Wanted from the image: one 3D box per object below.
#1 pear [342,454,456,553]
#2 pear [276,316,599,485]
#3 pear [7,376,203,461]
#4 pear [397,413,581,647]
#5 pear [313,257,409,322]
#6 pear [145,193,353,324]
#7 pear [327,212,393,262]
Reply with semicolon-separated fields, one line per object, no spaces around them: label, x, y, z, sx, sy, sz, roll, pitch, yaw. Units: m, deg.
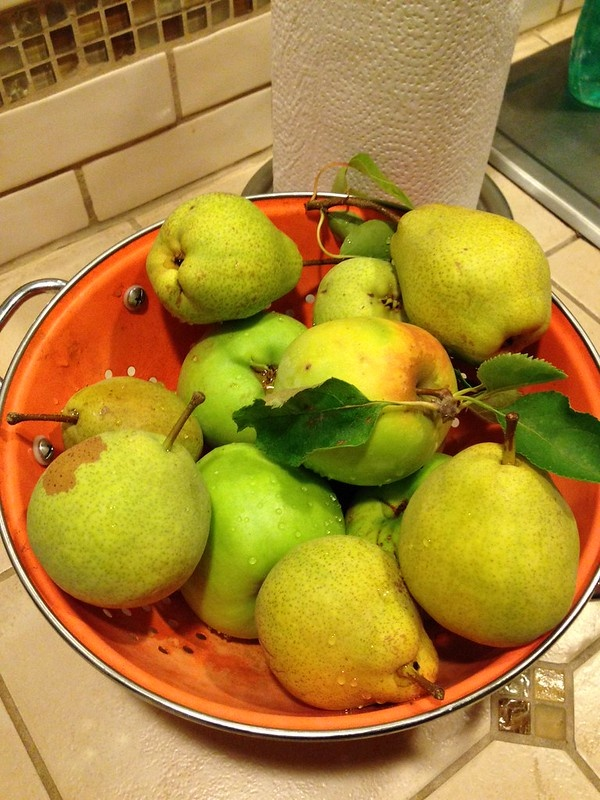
pear;0.053;0.069;0.487;0.058;0.059;0.055;-47;58;7
pear;0.067;-0.002;0.437;0.164;0.073;0.082;4;11;-4
pear;-0.117;0.008;0.467;0.110;0.047;0.044;2;65;-7
pear;0.085;0.058;0.388;0.106;0.103;0.086;12;43;1
pear;0.036;-0.069;0.483;0.053;0.046;0.049;10;25;0
pear;-0.033;-0.074;0.508;0.141;0.082;0.084;-4;79;-24
pear;0.043;-0.112;0.523;0.032;0.023;0.051;-18;32;-31
